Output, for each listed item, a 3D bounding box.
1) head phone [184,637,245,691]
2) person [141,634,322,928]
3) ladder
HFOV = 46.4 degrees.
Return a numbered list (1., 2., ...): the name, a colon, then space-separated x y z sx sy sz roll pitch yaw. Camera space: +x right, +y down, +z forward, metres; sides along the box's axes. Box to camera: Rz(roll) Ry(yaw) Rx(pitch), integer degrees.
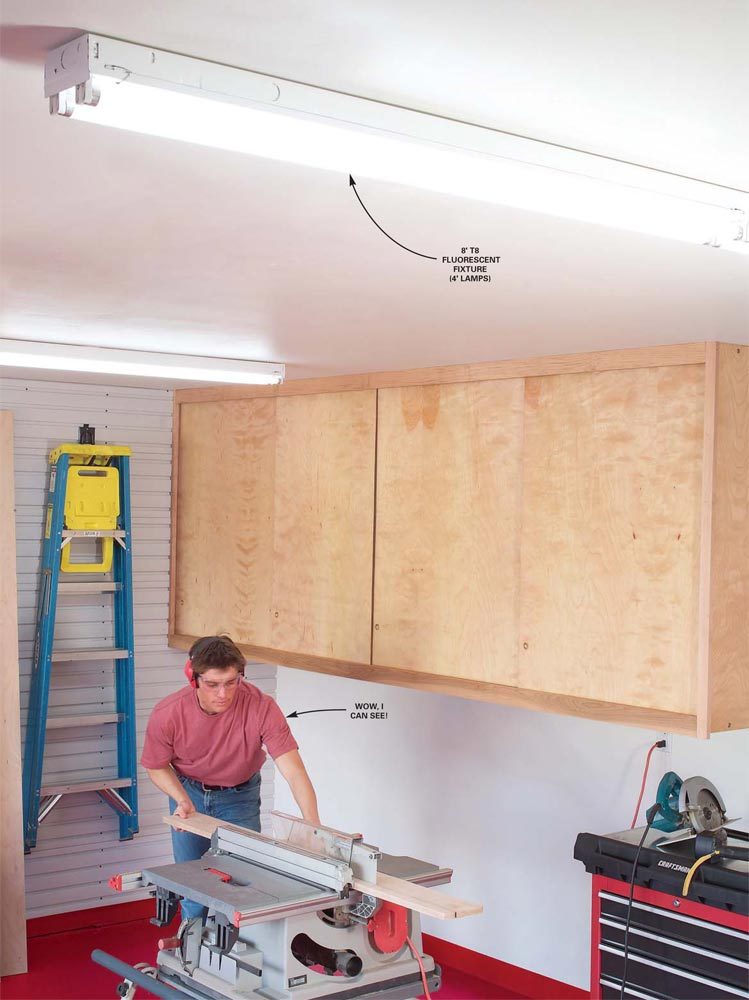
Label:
1. head phone: -0.668 0.680 3.617 0.208 0.221 0.249 3 -13 -12
2. person: -0.655 1.084 3.775 0.667 0.999 0.870 1 -2 -14
3. ladder: -1.723 0.892 5.239 0.696 2.425 0.429 2 -3 -29
